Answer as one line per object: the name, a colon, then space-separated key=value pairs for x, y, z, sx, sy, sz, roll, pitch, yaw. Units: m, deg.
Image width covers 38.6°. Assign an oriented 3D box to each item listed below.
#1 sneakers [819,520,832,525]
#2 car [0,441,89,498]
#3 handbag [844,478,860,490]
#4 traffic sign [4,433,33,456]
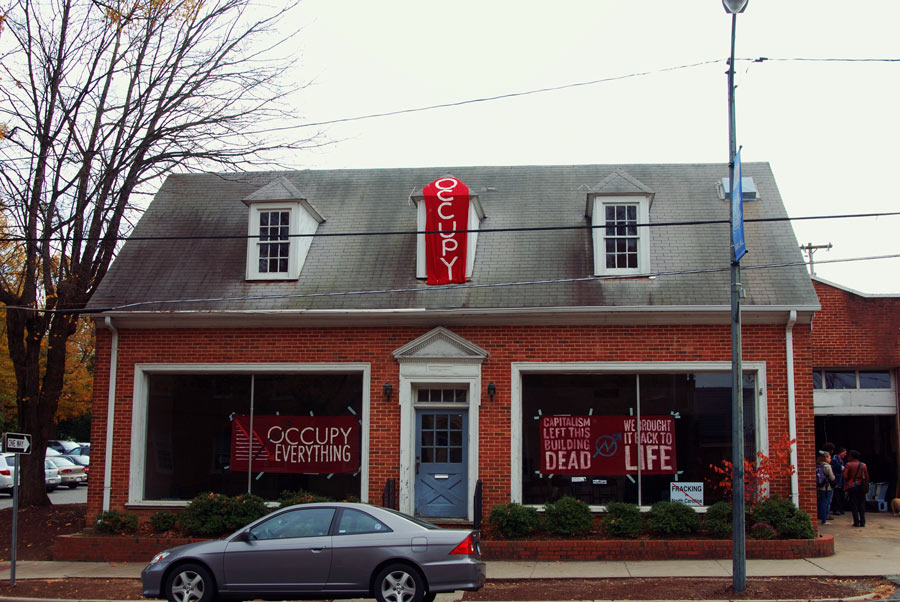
sneakers: x=11.139 y=6.503 z=37.844 sx=0.423 sy=0.133 sz=0.109 roll=-1 pitch=-4 yaw=-13
car: x=-15.861 y=6.740 z=50.298 sx=2.212 sy=1.796 sz=6.491 roll=0 pitch=-11 yaw=-2
handbag: x=11.897 y=5.335 z=37.530 sx=0.296 sy=0.208 sz=0.288 roll=6 pitch=-9 yaw=-36
traffic sign: x=-10.674 y=3.474 z=31.599 sx=0.604 sy=0.557 sz=0.978 roll=4 pitch=-12 yaw=-22
